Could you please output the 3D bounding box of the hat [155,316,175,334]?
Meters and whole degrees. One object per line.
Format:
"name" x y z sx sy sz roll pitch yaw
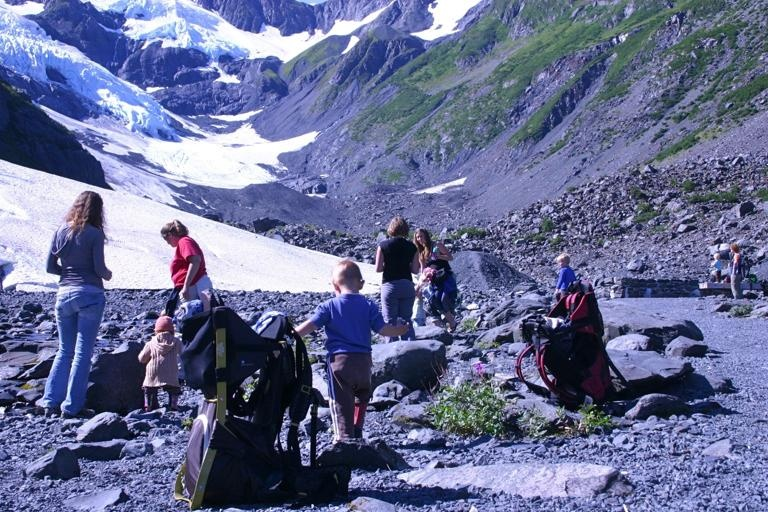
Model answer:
"hat" -4.695 1.437 16.079 0.301 0.343 0.414 1 2 8

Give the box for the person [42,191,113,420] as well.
"person" -6.248 0.944 15.229 1.451 4.459 0.835 -7 -12 23
